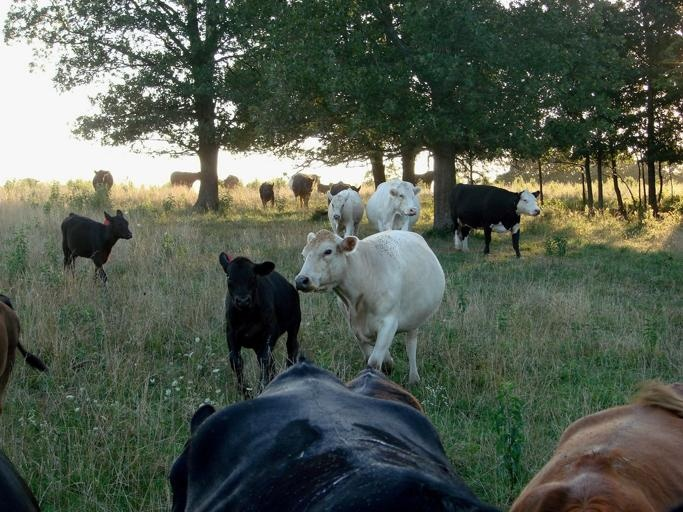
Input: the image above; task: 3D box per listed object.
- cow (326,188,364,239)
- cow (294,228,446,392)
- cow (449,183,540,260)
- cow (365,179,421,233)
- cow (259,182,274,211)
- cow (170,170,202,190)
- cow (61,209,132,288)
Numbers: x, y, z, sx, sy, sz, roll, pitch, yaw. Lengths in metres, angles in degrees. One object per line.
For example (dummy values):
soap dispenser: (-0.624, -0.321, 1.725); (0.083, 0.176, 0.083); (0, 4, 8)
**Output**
cow: (0.133, -1.162, 20.034); (0.789, 1.633, 2.599); (3, 5, 14)
cow: (0.563, 0.758, 10.138); (2.804, 2.483, 1.385); (5, -4, -41)
cow: (4.245, -0.974, 19.584); (1.072, 2.147, 3.244); (-7, 9, -37)
cow: (1.254, -1.092, 18.550); (1.049, 1.770, 3.040); (-2, 1, -17)
cow: (-3.498, -2.926, 33.334); (0.531, 1.300, 2.306); (-2, -1, -8)
cow: (-11.595, -5.633, 51.295); (1.998, 1.367, 6.361); (-1, 3, -14)
cow: (-5.092, -0.224, 14.282); (1.724, 1.536, 0.677); (10, 8, 25)
